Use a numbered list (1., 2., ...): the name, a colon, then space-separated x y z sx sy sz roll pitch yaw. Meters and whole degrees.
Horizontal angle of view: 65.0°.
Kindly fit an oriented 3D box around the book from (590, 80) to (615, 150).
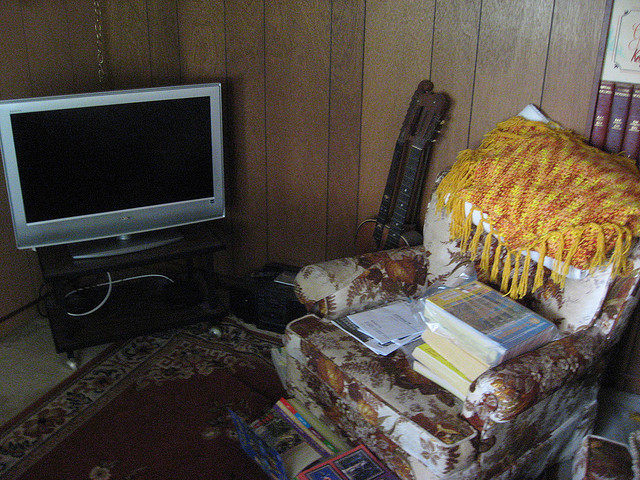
1. book: 1.137 -0.512 2.021 0.057 0.203 0.231 20 16 20

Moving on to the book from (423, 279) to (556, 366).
1. book: 0.581 0.274 1.764 0.318 0.068 0.327 -16 38 -40

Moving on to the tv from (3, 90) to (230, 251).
1. tv: -0.999 -0.341 2.383 0.964 0.544 0.067 -9 21 -23

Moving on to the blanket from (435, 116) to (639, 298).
1. blanket: 0.903 -0.054 1.998 0.749 0.686 0.240 34 6 25
